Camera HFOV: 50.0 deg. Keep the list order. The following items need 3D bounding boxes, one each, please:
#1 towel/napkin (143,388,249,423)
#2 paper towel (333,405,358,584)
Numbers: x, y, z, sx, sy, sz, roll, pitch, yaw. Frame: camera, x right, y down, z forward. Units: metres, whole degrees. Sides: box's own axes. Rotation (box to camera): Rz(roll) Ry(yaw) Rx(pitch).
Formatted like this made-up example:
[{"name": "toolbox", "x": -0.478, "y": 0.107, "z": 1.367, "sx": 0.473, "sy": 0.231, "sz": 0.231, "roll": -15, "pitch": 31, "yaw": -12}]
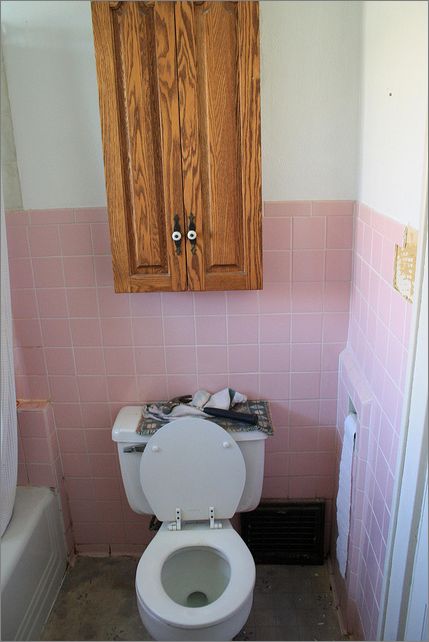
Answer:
[{"name": "towel/napkin", "x": -0.041, "y": 0.303, "z": 1.614, "sx": 0.232, "sy": 0.053, "sz": 0.159, "roll": -3, "pitch": 7, "yaw": -5}, {"name": "paper towel", "x": 0.439, "y": 0.587, "z": 1.548, "sx": 0.045, "sy": 0.590, "sz": 0.211, "roll": 2, "pitch": 20, "yaw": 16}]
